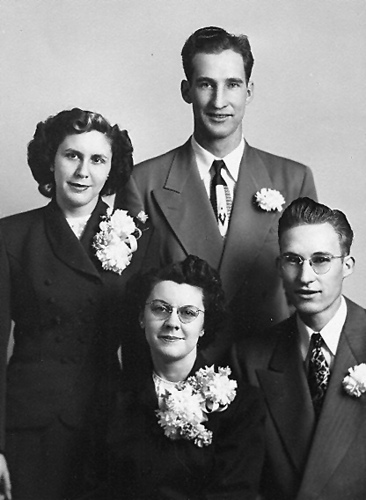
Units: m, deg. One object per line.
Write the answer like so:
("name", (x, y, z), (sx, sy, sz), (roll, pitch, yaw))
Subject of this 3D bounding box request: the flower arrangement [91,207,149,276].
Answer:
("flower arrangement", (-0.264, -0.062, 2.728), (0.316, 0.109, 0.224), (17, 26, 23))

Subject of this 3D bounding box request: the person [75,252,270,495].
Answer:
("person", (0.033, 0.549, 2.587), (0.773, 1.023, 0.342), (13, 13, 10))

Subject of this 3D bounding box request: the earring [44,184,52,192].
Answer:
("earring", (-0.585, -0.268, 2.735), (0.032, 0.034, 0.004), (16, 14, 26))

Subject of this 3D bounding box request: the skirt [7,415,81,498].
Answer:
("skirt", (-0.594, 0.861, 2.622), (0.289, 0.318, 0.122), (8, 13, -10))

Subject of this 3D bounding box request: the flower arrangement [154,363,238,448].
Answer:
("flower arrangement", (0.053, 0.624, 2.548), (0.365, 0.287, 0.151), (-16, -4, -5))

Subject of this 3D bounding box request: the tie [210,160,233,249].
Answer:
("tie", (0.171, -0.195, 2.684), (0.084, 0.375, 0.032), (-3, -15, -3))

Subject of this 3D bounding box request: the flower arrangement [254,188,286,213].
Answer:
("flower arrangement", (0.376, -0.219, 2.722), (0.121, 0.096, 0.045), (-5, 39, -10))
